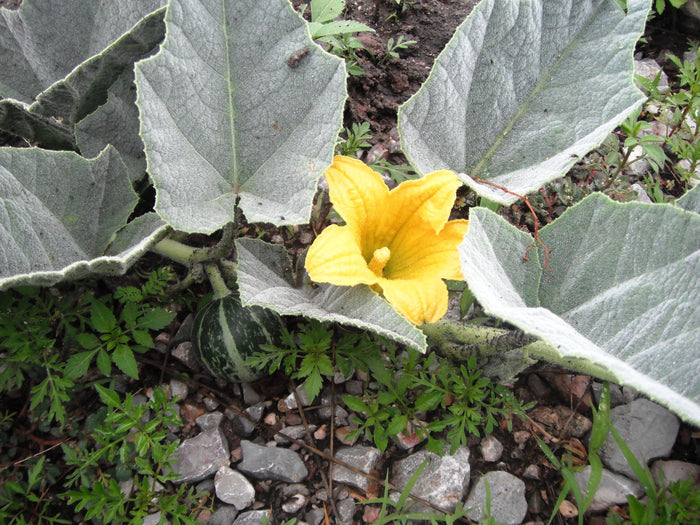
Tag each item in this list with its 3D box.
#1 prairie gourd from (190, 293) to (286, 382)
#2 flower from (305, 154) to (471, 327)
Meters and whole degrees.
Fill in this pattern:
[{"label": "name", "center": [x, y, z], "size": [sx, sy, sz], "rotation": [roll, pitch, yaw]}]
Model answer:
[{"label": "prairie gourd", "center": [-0.546, 0.323, 2.703], "size": [0.381, 0.423, 0.402], "rotation": [-1, 1, -19]}, {"label": "flower", "center": [0.139, -0.055, 2.479], "size": [0.687, 0.359, 0.768], "rotation": [21, 84, -10]}]
